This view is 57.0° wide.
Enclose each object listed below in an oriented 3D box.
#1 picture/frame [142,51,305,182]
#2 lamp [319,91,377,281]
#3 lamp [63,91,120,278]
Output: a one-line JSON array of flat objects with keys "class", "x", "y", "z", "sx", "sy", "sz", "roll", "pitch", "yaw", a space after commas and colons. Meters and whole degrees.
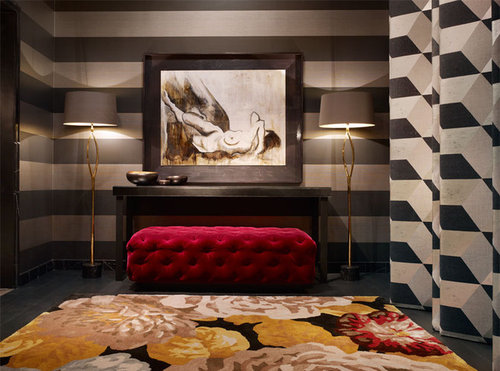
[{"class": "picture/frame", "x": -0.257, "y": -0.738, "z": 4.957, "sx": 1.317, "sy": 1.101, "sz": 0.104, "roll": 0, "pitch": 0, "yaw": -2}, {"class": "lamp", "x": 0.968, "y": -0.046, "z": 4.784, "sx": 0.570, "sy": 1.847, "sz": 0.740, "roll": 4, "pitch": 12, "yaw": 15}, {"class": "lamp", "x": -1.671, "y": -0.046, "z": 4.808, "sx": 0.590, "sy": 1.851, "sz": 0.768, "roll": -2, "pitch": 12, "yaw": -11}]
